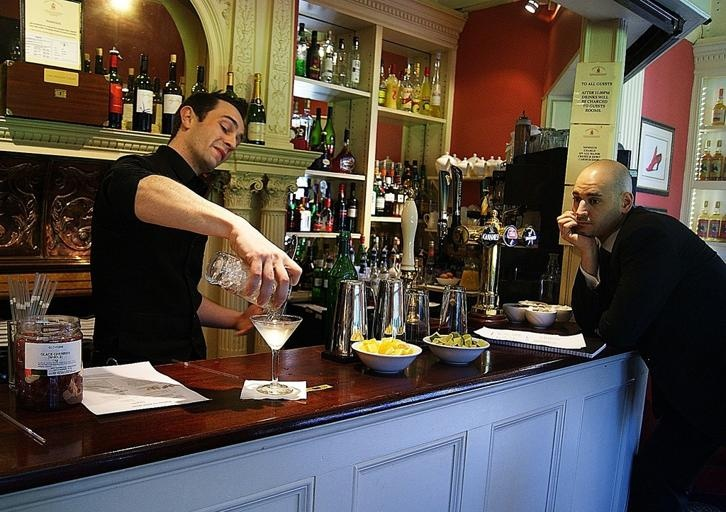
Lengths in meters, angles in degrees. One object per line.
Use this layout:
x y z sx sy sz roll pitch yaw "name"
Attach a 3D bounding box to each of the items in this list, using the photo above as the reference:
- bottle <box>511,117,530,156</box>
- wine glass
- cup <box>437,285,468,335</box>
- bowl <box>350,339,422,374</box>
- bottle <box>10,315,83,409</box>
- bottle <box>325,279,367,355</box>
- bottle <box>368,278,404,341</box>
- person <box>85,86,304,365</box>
1.110 -0.840 3.714 0.116 0.302 0.199 7 10 14 "bottle"
-0.268 0.295 1.655 0.137 0.269 0.159 -3 12 -37 "wine glass"
0.382 0.240 2.285 0.165 0.248 0.169 1 -2 0 "cup"
0.070 0.324 1.876 0.152 0.068 0.157 1 -3 0 "bowl"
-0.866 0.288 1.459 0.164 0.244 0.127 -1 11 -32 "bottle"
-0.058 0.231 2.012 0.143 0.297 0.153 5 10 -1 "bottle"
0.115 0.219 2.093 0.146 0.260 0.135 5 10 -1 "bottle"
-0.663 -0.053 1.955 0.610 1.165 1.028 0 11 -28 "person"
